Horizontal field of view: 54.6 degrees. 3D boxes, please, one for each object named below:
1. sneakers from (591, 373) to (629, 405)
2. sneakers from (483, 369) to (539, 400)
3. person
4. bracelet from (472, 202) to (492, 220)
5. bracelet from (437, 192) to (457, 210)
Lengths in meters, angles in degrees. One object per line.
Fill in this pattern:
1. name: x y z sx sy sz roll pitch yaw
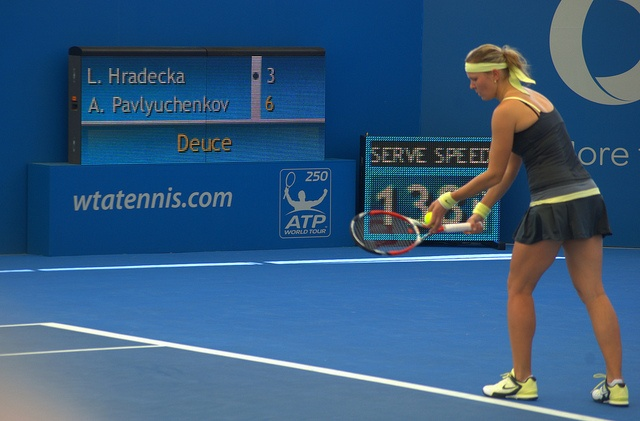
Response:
1. sneakers: 1.911 1.200 4.126 0.119 0.125 0.290 0 -2 -3
2. sneakers: 1.279 1.191 4.243 0.417 0.206 0.150 1 -6 14
3. person: 1.467 0.082 4.121 1.206 2.364 0.556 5 10 25
4. bracelet: 1.115 -0.036 4.278 0.125 0.092 0.127 33 -5 21
5. bracelet: 0.841 -0.075 4.180 0.102 0.091 0.120 -33 -31 -26
